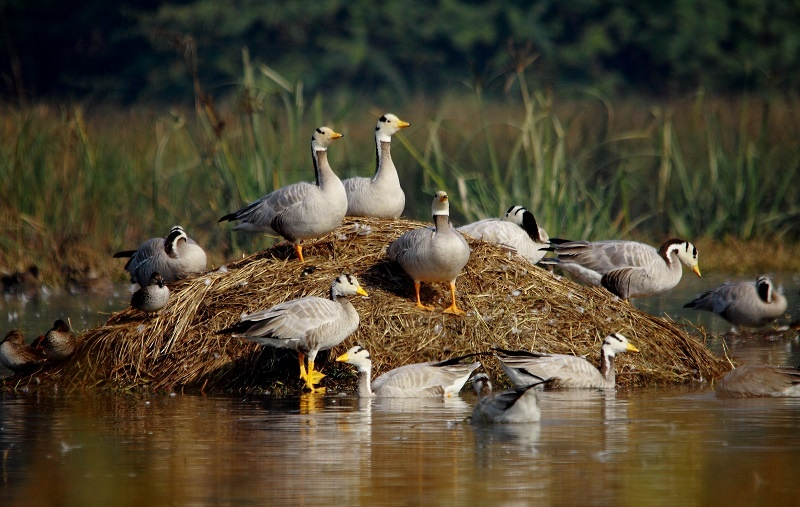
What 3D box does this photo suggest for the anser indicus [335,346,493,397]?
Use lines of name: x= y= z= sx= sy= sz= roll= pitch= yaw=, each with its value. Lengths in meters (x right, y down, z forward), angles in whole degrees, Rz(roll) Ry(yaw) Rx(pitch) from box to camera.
anser indicus: x=0.214 y=2.405 z=25.133 sx=2.812 sy=1.533 sz=0.985 roll=-4 pitch=-2 yaw=3

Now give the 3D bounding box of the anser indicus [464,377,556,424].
anser indicus: x=1.958 y=2.566 z=23.336 sx=1.217 sy=0.821 sz=1.540 roll=0 pitch=0 yaw=4

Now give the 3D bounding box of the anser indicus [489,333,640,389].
anser indicus: x=3.186 y=2.115 z=25.117 sx=2.495 sy=1.054 sz=0.755 roll=-11 pitch=24 yaw=-17

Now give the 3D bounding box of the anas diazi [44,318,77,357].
anas diazi: x=-6.709 y=1.612 z=26.116 sx=0.512 sy=0.757 sz=0.542 roll=6 pitch=39 yaw=-8
